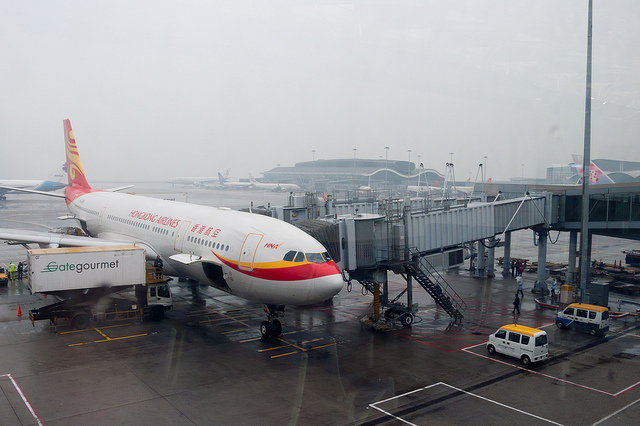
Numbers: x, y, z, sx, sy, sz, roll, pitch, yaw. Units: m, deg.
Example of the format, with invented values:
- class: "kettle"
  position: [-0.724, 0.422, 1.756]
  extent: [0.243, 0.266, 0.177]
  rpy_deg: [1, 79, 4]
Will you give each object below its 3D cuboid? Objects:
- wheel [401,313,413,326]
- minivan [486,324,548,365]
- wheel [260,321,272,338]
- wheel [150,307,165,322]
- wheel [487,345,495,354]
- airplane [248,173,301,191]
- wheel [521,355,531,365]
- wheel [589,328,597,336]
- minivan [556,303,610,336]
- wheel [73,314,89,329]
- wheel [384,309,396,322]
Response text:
- class: "wheel"
  position: [7.333, 8.925, 43.241]
  extent: [1.328, 1.045, 0.536]
  rpy_deg: [2, 4, -32]
- class: "minivan"
  position: [14.728, 9.533, 37.841]
  extent: [2.206, 1.854, 3.988]
  rpy_deg: [1, -1, -32]
- class: "wheel"
  position: [-4.320, 9.120, 40.618]
  extent: [0.939, 1.304, 0.550]
  rpy_deg: [10, 14, 39]
- class: "wheel"
  position: [-13.935, 8.552, 43.705]
  extent: [1.623, 1.241, 0.513]
  rpy_deg: [0, 1, -17]
- class: "wheel"
  position: [12.813, 10.117, 38.091]
  extent: [0.282, 0.633, 0.758]
  rpy_deg: [1, -3, -34]
- class: "airplane"
  position: [-18.265, -13.337, 217.712]
  extent: [20.448, 5.780, 16.850]
  rpy_deg: [2, 8, 16]
- class: "wheel"
  position: [14.693, 10.324, 36.347]
  extent: [0.146, 0.709, 0.756]
  rpy_deg: [-6, 13, -34]
- class: "wheel"
  position: [22.287, 9.577, 41.645]
  extent: [0.575, 0.586, 0.283]
  rpy_deg: [8, 13, 33]
- class: "minivan"
  position: [22.201, 8.717, 42.811]
  extent: [3.706, 1.697, 2.343]
  rpy_deg: [4, 3, 40]
- class: "wheel"
  position: [-19.409, 8.760, 41.416]
  extent: [1.464, 1.124, 0.504]
  rpy_deg: [-5, 3, -17]
- class: "wheel"
  position: [5.949, 8.606, 43.606]
  extent: [0.846, 0.752, 0.989]
  rpy_deg: [3, 10, 7]
